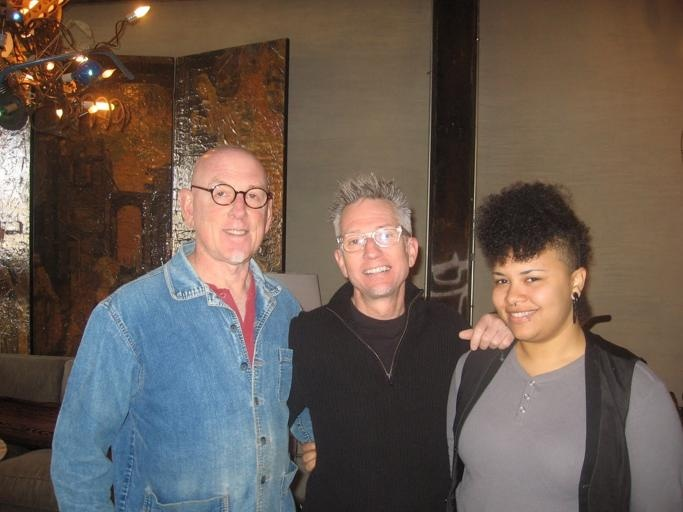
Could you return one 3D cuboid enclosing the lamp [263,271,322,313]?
[{"bbox_3d":[-0.299,0.280,5.244,0.389,0.275,0.090,5,-11,-4],"label":"lamp"}]
